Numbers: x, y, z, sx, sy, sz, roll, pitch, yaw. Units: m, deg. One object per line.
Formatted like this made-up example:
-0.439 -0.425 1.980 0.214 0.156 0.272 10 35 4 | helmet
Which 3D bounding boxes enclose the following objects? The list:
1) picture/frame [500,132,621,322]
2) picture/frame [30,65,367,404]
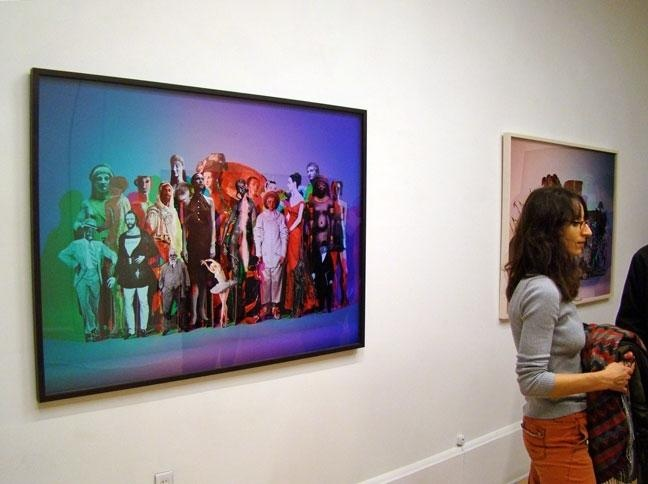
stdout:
1.512 -0.147 3.249 1.440 1.170 0.048 -1 0 -37 | picture/frame
-0.702 -0.047 2.552 1.721 1.476 0.032 -2 1 -31 | picture/frame
